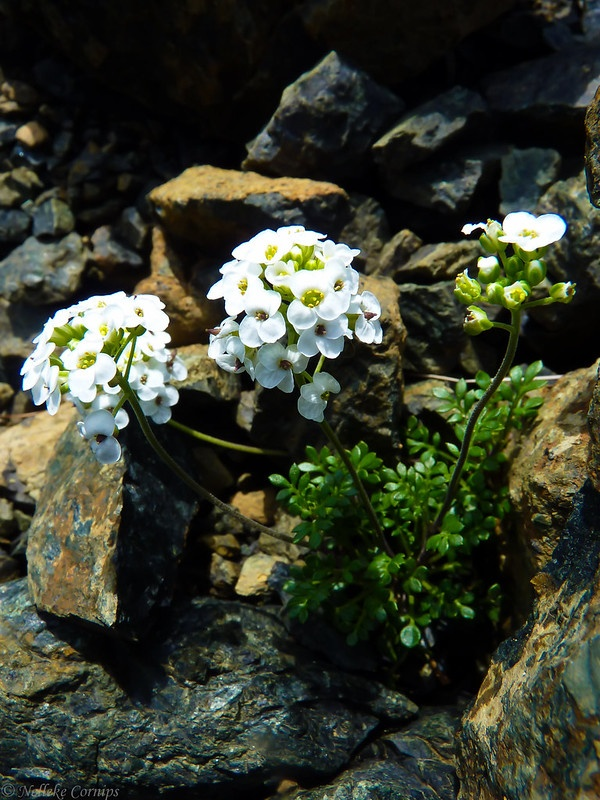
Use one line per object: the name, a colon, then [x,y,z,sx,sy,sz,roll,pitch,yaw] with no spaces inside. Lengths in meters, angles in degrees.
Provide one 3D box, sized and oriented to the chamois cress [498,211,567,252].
chamois cress: [1.058,-0.771,3.908,0.260,0.064,0.247,26,57,37]
